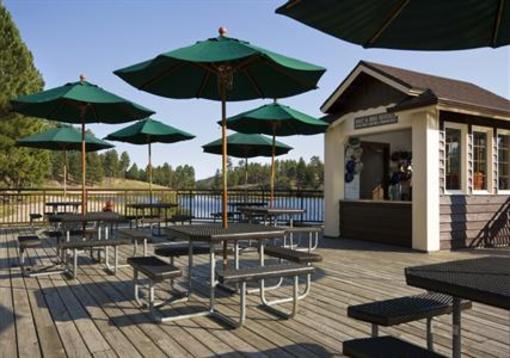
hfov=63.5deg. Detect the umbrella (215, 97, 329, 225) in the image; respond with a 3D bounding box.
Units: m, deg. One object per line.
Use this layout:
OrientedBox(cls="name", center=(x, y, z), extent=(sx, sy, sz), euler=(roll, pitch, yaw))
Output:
OrientedBox(cls="umbrella", center=(0.623, -0.475, 9.545), extent=(2.442, 2.220, 2.397), euler=(5, -4, -37))
